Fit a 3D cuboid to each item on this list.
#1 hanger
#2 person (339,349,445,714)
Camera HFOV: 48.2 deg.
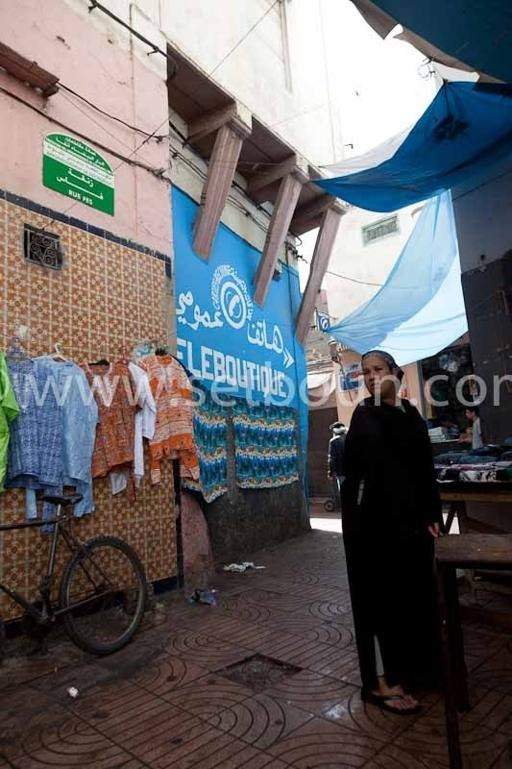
[{"bbox_3d":[-1.306,-0.239,5.120,0.070,0.198,1.380,-7,-1,34],"label":"hanger"},{"bbox_3d":[0.690,0.705,2.917,0.455,1.753,0.249,-1,-6,-17],"label":"person"}]
